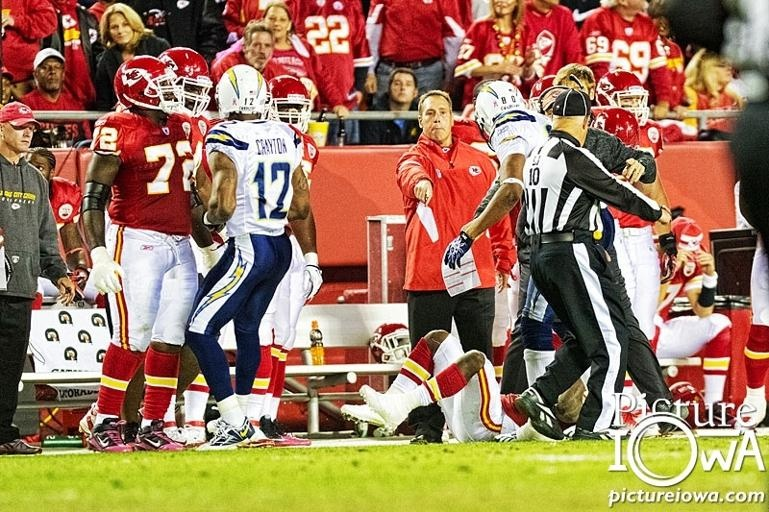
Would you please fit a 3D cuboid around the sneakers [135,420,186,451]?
[{"bbox_3d":[-1.299,1.058,5.884,0.369,0.231,0.144,3,-2,3],"label":"sneakers"}]

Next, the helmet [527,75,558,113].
[{"bbox_3d":[1.100,-1.172,7.103,0.213,0.303,0.284,1,-8,-6],"label":"helmet"}]

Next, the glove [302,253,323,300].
[{"bbox_3d":[-0.480,0.130,6.369,0.163,0.269,0.076,9,-20,-34],"label":"glove"}]

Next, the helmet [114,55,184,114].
[{"bbox_3d":[-1.476,-1.077,6.158,0.370,0.327,0.292,1,18,2],"label":"helmet"}]

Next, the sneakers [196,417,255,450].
[{"bbox_3d":[-0.904,1.048,5.774,0.371,0.186,0.138,-4,2,-8],"label":"sneakers"}]

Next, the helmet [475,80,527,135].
[{"bbox_3d":[0.720,-1.004,6.436,0.285,0.388,0.352,-4,-1,-1],"label":"helmet"}]

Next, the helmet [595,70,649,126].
[{"bbox_3d":[1.721,-1.182,7.178,0.325,0.385,0.434,-11,26,-33],"label":"helmet"}]

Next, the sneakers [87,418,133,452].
[{"bbox_3d":[-1.646,1.085,6.003,0.139,0.216,0.399,5,-6,-39],"label":"sneakers"}]

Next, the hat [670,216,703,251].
[{"bbox_3d":[2.360,-0.185,7.699,0.206,0.222,0.327,-10,13,4],"label":"hat"}]

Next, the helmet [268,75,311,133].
[{"bbox_3d":[-0.620,-1.013,6.619,0.257,0.337,0.364,-3,19,-30],"label":"helmet"}]

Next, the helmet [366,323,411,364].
[{"bbox_3d":[0.022,0.660,7.393,0.233,0.256,0.295,4,-6,-43],"label":"helmet"}]

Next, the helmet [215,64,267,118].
[{"bbox_3d":[-0.877,-0.997,5.945,0.241,0.277,0.325,1,22,-4],"label":"helmet"}]
